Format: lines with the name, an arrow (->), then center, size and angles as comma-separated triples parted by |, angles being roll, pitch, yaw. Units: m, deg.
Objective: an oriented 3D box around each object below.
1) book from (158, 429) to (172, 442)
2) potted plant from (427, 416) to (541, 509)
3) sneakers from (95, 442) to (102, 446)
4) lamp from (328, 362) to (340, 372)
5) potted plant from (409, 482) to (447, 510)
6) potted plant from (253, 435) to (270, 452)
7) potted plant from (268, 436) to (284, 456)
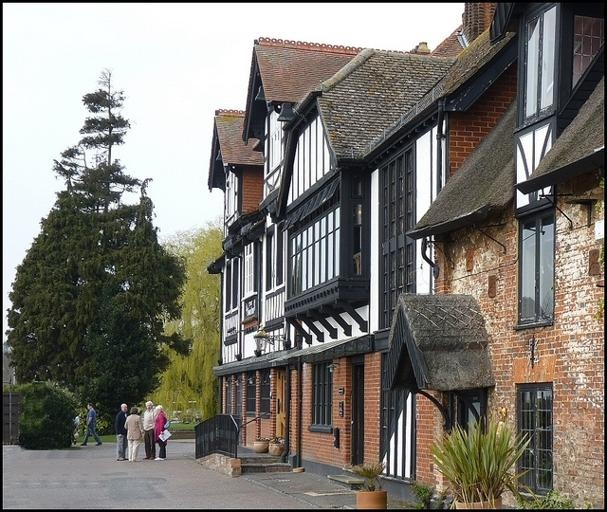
book -> -4.047, 5.210, 34.180 | 0.292, 0.311, 0.461 | 2, -16, -7
potted plant -> 3.128, 3.693, 20.845 | 1.378, 1.912, 1.571 | -1, -5, -8
sneakers -> -7.442, 6.805, 42.549 | 0.181, 0.150, 0.219 | -3, -6, 24
lamp -> 0.776, 2.813, 29.381 | 0.228, 0.278, 0.231 | -2, 6, -38
potted plant -> 2.531, 4.740, 23.114 | 0.455, 0.505, 0.648 | 5, -5, 24
potted plant -> -1.219, 5.466, 34.221 | 0.361, 0.381, 0.413 | 2, -13, -3
potted plant -> -0.762, 5.347, 33.078 | 0.386, 0.461, 0.392 | -1, 1, -38
